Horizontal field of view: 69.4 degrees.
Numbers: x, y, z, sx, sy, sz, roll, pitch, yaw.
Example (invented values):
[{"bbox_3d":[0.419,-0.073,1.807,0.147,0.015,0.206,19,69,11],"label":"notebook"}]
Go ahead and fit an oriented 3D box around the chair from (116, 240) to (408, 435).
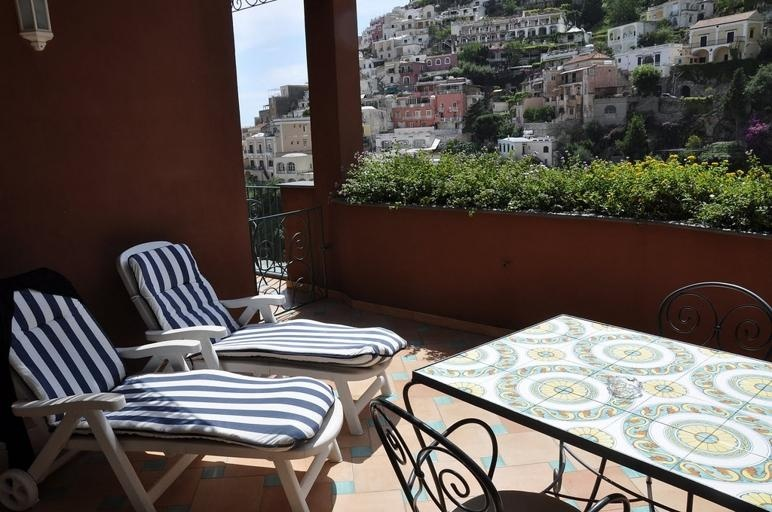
[{"bbox_3d":[-0.899,0.574,4.298,1.985,1.251,1.204,4,12,18],"label":"chair"}]
